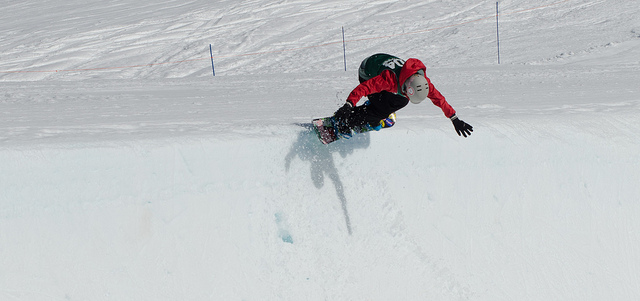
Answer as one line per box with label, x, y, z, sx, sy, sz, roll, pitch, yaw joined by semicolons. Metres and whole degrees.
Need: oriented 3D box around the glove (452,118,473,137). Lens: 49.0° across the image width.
glove;4.378;-0.647;21.494;0.579;0.653;0.436;-2;34;7
